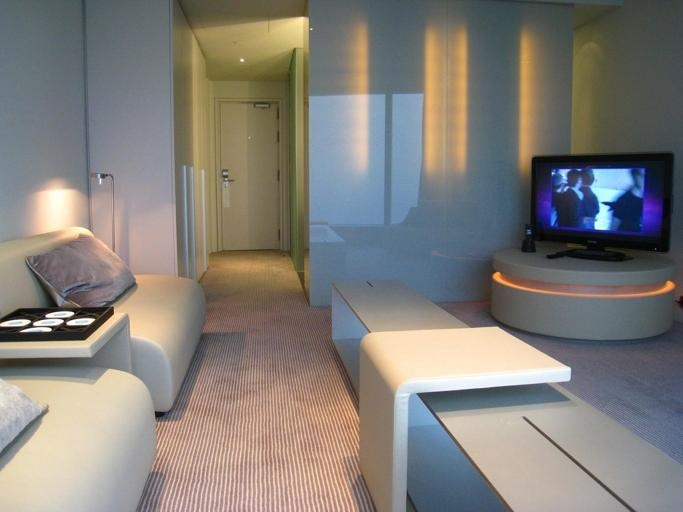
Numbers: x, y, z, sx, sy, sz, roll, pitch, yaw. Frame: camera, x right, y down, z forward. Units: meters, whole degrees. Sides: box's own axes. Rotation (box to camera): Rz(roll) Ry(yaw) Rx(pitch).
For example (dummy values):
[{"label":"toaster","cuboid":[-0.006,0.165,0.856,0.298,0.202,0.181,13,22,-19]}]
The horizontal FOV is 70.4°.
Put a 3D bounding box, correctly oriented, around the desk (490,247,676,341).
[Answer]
[{"label":"desk","cuboid":[1.882,0.313,3.784,0.836,0.363,0.882,0,8,0]}]
